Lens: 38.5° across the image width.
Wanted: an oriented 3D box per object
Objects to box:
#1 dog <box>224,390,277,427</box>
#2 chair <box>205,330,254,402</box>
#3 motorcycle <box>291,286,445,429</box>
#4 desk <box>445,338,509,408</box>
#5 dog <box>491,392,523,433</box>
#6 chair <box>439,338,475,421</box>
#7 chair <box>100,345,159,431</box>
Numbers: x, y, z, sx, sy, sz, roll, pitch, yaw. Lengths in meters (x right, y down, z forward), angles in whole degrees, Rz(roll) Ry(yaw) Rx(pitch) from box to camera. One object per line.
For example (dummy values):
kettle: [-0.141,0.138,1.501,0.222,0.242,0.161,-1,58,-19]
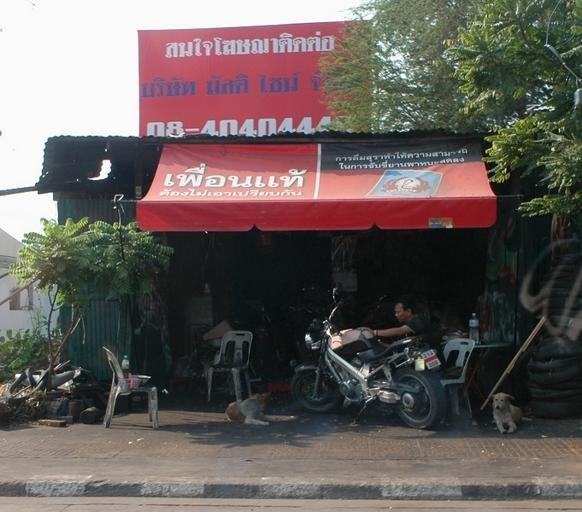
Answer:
dog: [-0.597,2.083,11.320,0.674,0.328,0.389,-1,8,36]
chair: [-0.857,1.633,12.394,0.738,0.946,0.722,-4,7,-24]
motorcycle: [1.298,1.560,11.582,2.417,1.493,1.209,0,-2,41]
desk: [2.991,1.612,12.166,1.142,0.863,0.869,-15,-26,33]
dog: [2.765,1.989,10.616,0.350,0.491,0.497,-4,-9,13]
chair: [2.222,1.577,10.885,0.445,1.067,0.652,-4,-9,12]
chair: [-2.151,1.786,11.259,0.745,0.974,0.648,2,-5,-6]
